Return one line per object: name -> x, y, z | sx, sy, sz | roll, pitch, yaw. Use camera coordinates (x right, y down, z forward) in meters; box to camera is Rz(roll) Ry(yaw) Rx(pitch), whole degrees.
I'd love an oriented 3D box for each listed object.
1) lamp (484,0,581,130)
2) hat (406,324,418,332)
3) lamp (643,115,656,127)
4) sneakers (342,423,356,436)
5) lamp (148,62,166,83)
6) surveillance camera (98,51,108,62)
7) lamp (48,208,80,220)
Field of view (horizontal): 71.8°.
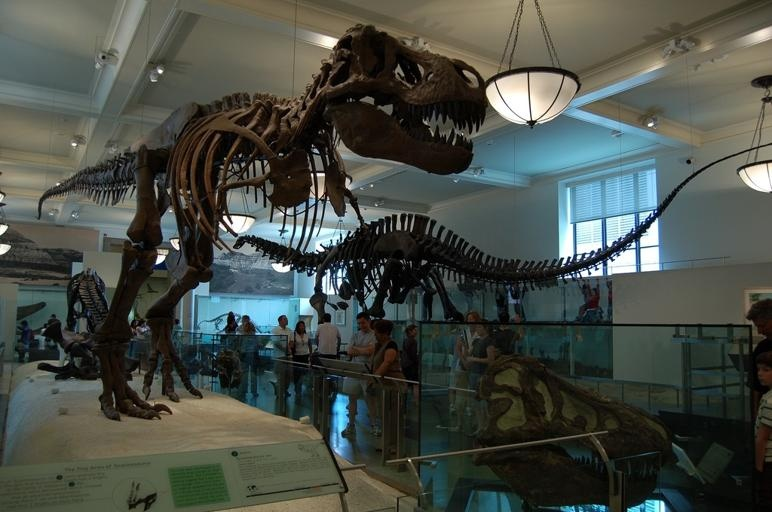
lamp -> 1.937, -2.521, 7.118 | 1.080, 1.898, 1.696 | 2, -6, 12
hat -> 0.373, 1.050, 7.749 | 0.149, 0.107, 0.109 | -2, 2, -20
lamp -> 5.013, -2.565, 10.116 | 0.206, 0.232, 0.324 | 1, -6, 25
sneakers -> -0.395, 1.844, 5.673 | 0.196, 0.128, 0.077 | -4, -9, 39
lamp -> -3.479, -2.756, 8.017 | 0.188, 0.235, 0.289 | 7, -6, -28
surveillance camera -> -4.142, -2.896, 7.793 | 0.091, 0.140, 0.134 | -1, -7, 39
lamp -> -10.109, -1.273, 16.667 | 0.773, 0.191, 0.795 | 0, -1, 11
